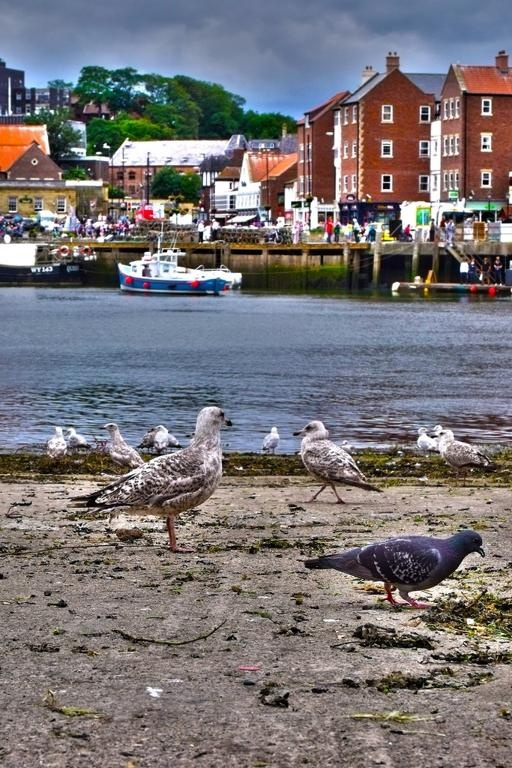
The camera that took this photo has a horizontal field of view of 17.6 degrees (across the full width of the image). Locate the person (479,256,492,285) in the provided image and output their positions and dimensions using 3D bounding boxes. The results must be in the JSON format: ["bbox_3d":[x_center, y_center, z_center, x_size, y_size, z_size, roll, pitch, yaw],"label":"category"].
[{"bbox_3d":[10.881,-5.336,78.445,0.538,1.299,1.593,1,6,8],"label":"person"}]

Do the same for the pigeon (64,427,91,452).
[{"bbox_3d":[-2.346,0.709,21.671,0.193,0.380,0.558,-9,10,-25],"label":"pigeon"}]

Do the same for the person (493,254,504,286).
[{"bbox_3d":[11.425,-5.343,78.254,0.547,1.351,2.499,1,6,8],"label":"person"}]

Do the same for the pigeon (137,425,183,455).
[{"bbox_3d":[-1.239,0.724,20.941,0.309,0.310,0.486,1,-14,1],"label":"pigeon"}]

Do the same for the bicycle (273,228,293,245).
[{"bbox_3d":[1.532,-8.547,95.684,0.641,0.814,2.547,-1,7,-10],"label":"bicycle"}]
